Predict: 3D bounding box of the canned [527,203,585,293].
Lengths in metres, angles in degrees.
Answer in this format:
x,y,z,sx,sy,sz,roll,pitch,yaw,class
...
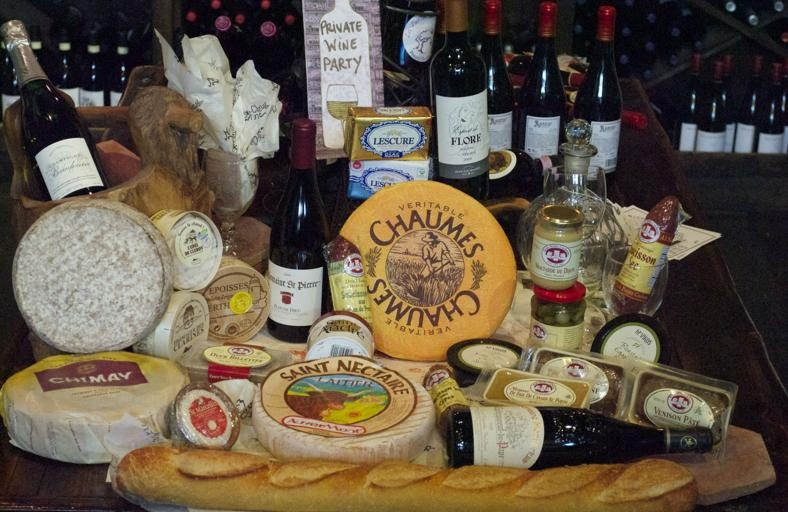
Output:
x,y,z,sx,sy,sz,roll,pitch,yaw,class
0.341,-0.019,1.449,0.099,0.156,0.114,4,28,10,canned

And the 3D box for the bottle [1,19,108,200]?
x,y,z,sx,sy,sz,roll,pitch,yaw,class
-0.721,-0.294,1.445,0.145,0.358,0.277,-13,29,-20,bottle
